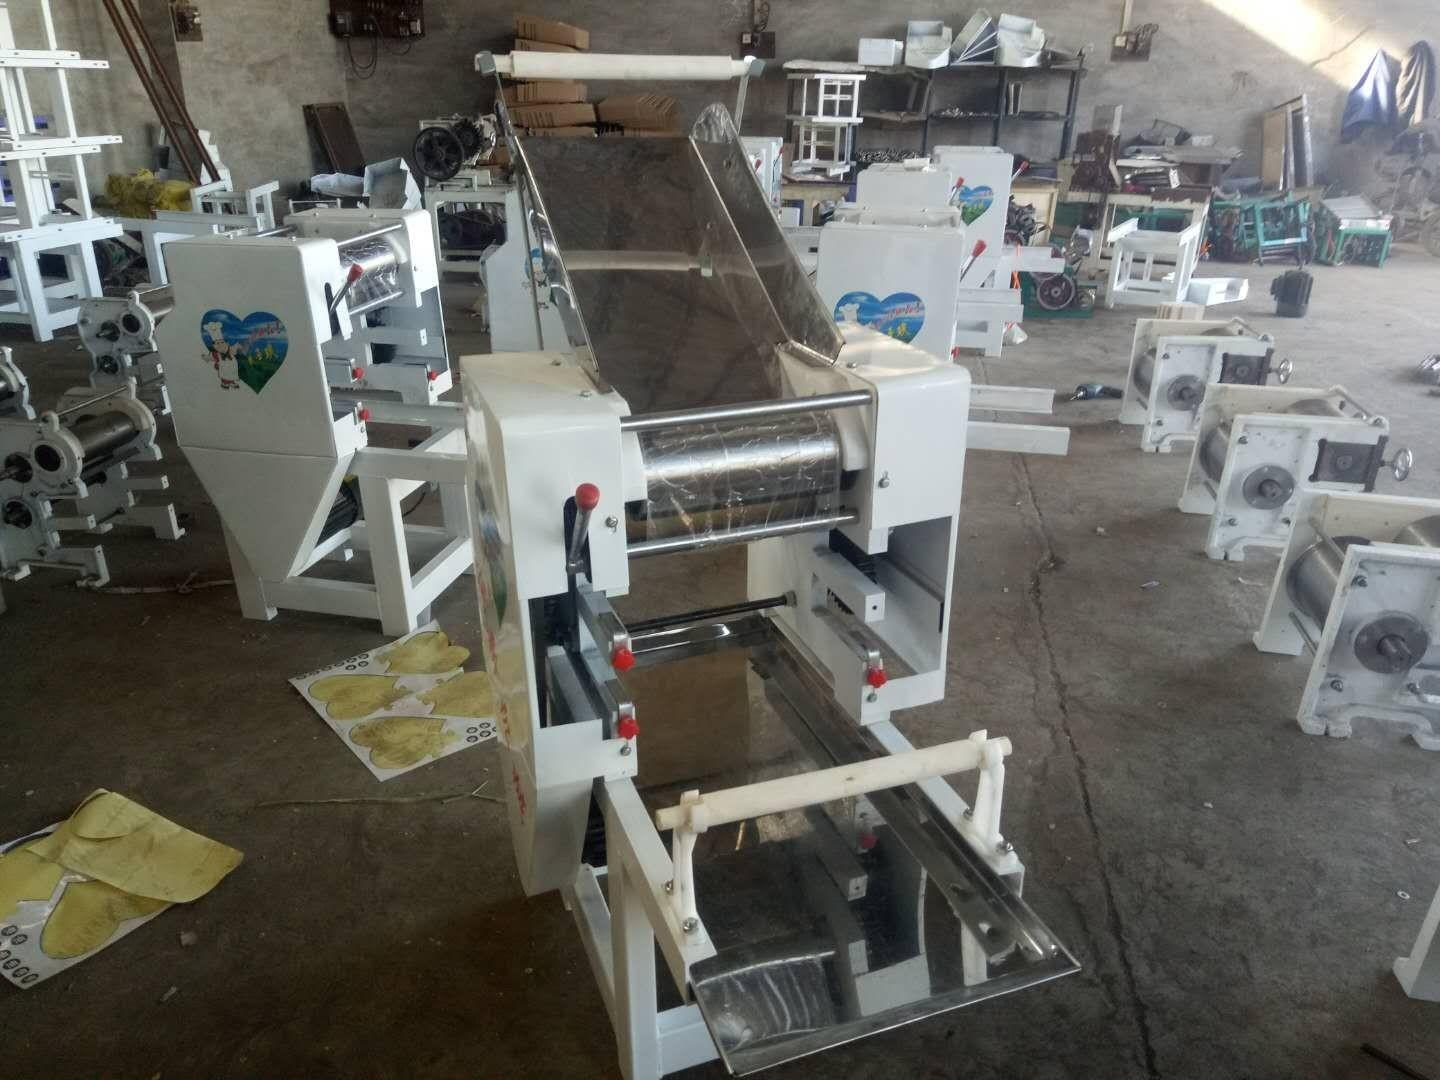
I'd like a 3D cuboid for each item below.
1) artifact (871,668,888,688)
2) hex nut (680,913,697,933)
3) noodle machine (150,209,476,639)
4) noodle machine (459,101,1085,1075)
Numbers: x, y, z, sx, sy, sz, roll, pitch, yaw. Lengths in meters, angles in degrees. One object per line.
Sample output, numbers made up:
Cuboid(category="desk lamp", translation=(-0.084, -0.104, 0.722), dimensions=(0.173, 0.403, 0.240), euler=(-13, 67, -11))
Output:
Cuboid(category="artifact", translation=(0.437, 0.382, 2.819), dimensions=(0.021, 0.042, 0.041), euler=(24, 41, 39))
Cuboid(category="hex nut", translation=(-0.067, 0.840, 2.222), dimensions=(0.036, 0.028, 0.026), euler=(-5, 26, -7))
Cuboid(category="noodle machine", translation=(-1.616, -0.521, 4.421), dimensions=(0.967, 1.641, 1.042), euler=(4, 26, 11))
Cuboid(category="noodle machine", translation=(-0.008, 0.102, 2.924), dimensions=(1.340, 2.369, 2.431), euler=(-8, 26, -14))
